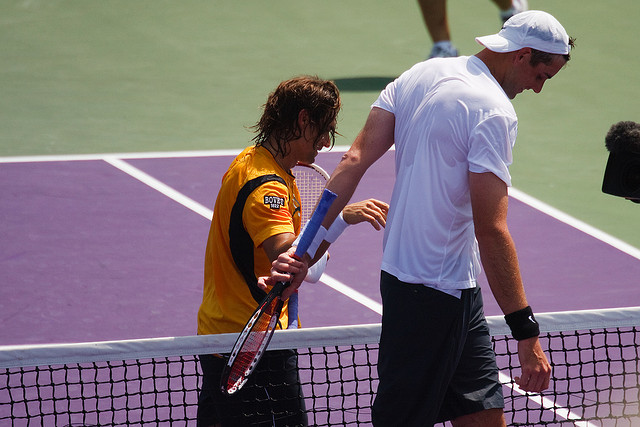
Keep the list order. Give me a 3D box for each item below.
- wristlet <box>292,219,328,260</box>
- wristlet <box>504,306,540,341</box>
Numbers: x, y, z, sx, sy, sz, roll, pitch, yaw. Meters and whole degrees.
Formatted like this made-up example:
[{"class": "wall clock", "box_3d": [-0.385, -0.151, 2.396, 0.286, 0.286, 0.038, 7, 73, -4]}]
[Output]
[{"class": "wristlet", "box_3d": [-0.056, 0.198, 6.509, 0.198, 0.285, 0.319, 34, -1, -1]}, {"class": "wristlet", "box_3d": [1.471, 0.810, 6.267, 0.244, 0.229, 0.218, -24, -1, -2]}]
